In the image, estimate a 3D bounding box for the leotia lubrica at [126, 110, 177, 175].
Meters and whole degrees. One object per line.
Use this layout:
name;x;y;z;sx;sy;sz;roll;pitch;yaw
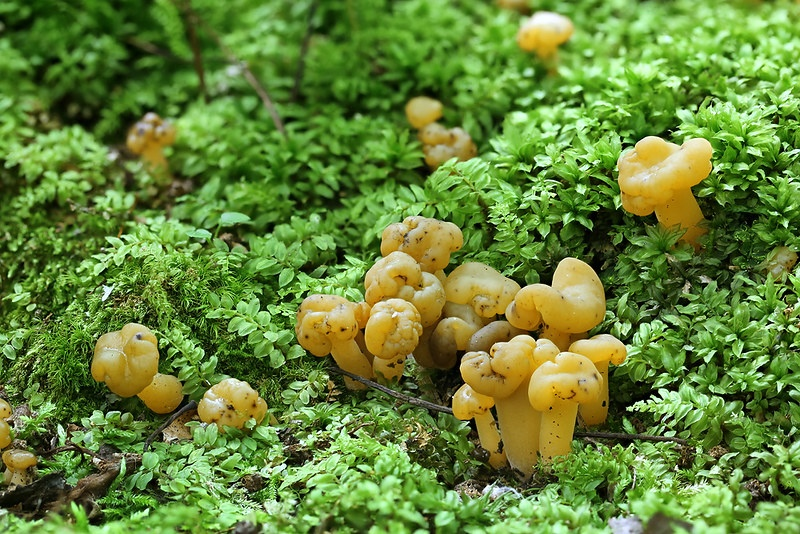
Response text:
leotia lubrica;-1.833;-0.930;5.403;0.261;0.440;0.273;25;67;-1

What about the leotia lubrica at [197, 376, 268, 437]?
leotia lubrica;-1.018;0.852;4.425;0.388;0.236;0.392;-9;34;-19
